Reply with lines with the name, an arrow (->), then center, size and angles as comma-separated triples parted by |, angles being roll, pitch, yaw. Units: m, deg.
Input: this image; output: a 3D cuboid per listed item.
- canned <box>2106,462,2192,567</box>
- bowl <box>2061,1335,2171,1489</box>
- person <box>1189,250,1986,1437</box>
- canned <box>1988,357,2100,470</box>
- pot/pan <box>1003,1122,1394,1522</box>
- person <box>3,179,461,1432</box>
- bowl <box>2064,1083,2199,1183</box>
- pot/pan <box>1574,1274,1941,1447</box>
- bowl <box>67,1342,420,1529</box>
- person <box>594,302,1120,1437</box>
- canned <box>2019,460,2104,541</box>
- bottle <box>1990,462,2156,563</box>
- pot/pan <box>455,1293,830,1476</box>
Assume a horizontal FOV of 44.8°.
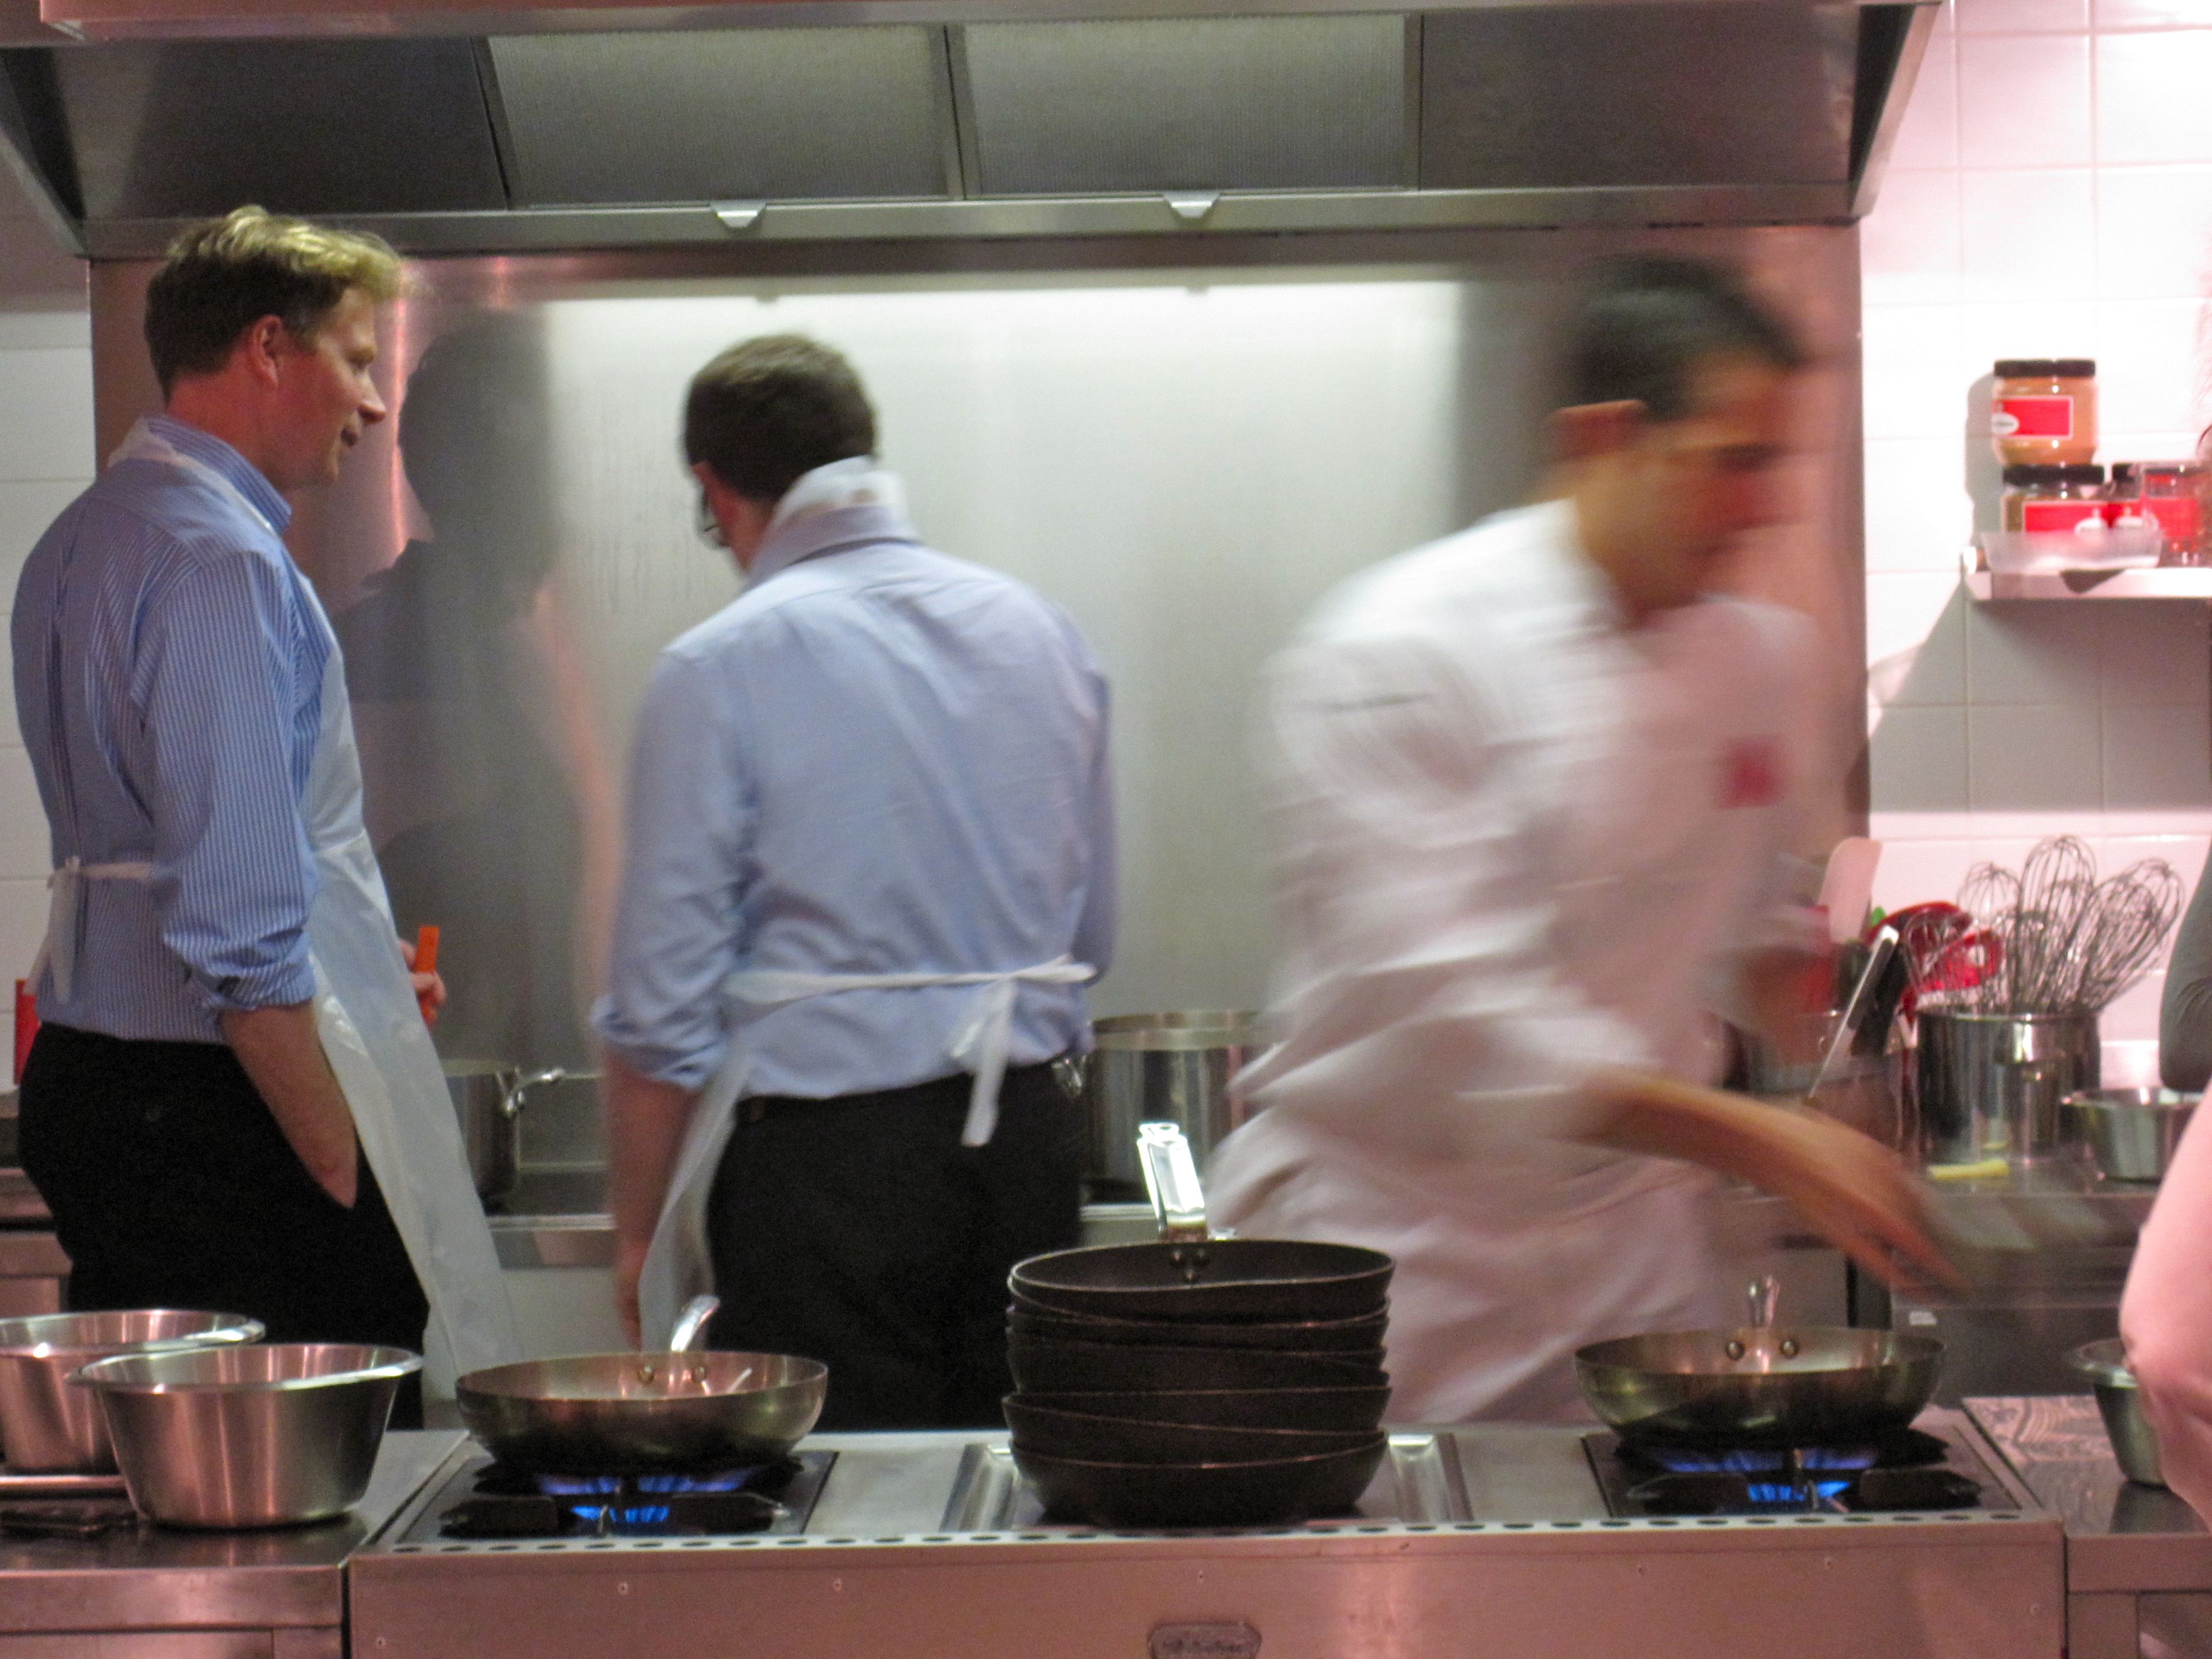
canned -> 1.251, -0.383, 3.221 | 0.101, 0.115, 0.089 | 6, 15, 29
bowl -> 0.676, 0.393, 1.825 | 0.087, 0.058, 0.080 | -6, 3, 0
person -> 0.330, 0.023, 2.039 | 0.513, 0.885, 0.435 | -2, 14, 1
canned -> 1.122, -0.508, 3.248 | 0.142, 0.120, 0.134 | 0, 0, 7
pot/pan -> 0.063, 0.326, 1.787 | 0.247, 0.219, 0.200 | 0, 13, 5
person -> -0.782, -0.011, 2.392 | 0.395, 1.056, 0.360 | -5, 14, -13
bowl -> 1.049, 0.308, 2.772 | 0.133, 0.071, 0.125 | 0, -5, 0
pot/pan -> 0.456, 0.382, 1.849 | 0.242, 0.062, 0.236 | -6, -5, 18
bowl -> -0.579, 0.413, 1.805 | 0.234, 0.086, 0.219 | -3, -14, -1
person -> -0.231, 0.046, 2.476 | 0.481, 0.979, 0.419 | -2, 14, -1
canned -> 1.140, -0.401, 3.238 | 0.089, 0.060, 0.086 | 0, 0, 6
bottle -> 1.151, -0.373, 3.227 | 0.180, 0.104, 0.125 | -1, 1, 5
pot/pan -> -0.309, 0.384, 1.804 | 0.230, 0.100, 0.150 | -6, 14, -19
